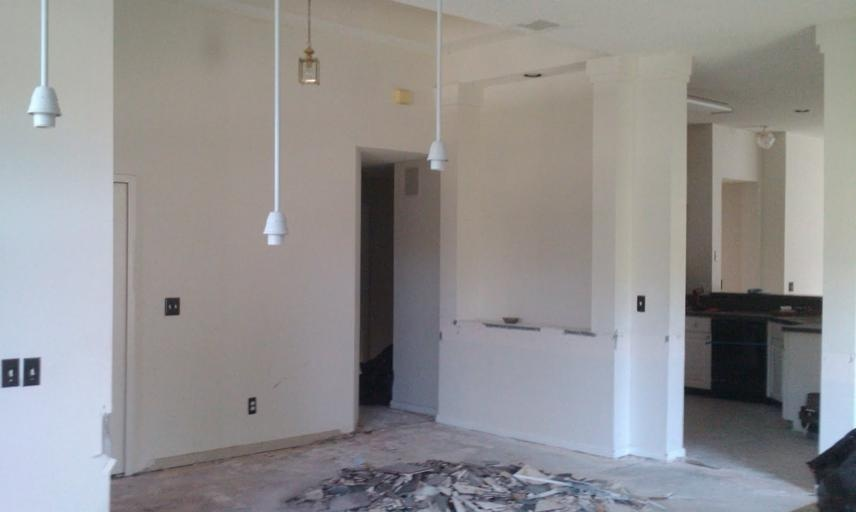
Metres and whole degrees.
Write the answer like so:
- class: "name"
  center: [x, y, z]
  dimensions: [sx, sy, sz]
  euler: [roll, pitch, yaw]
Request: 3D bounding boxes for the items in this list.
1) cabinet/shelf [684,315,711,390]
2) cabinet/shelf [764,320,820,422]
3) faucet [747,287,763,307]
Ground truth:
- class: "cabinet/shelf"
  center: [3.926, 1.397, 9.774]
  dimensions: [0.374, 1.053, 0.178]
  euler: [3, 8, 20]
- class: "cabinet/shelf"
  center: [4.709, 1.471, 8.695]
  dimensions: [0.561, 1.203, 1.264]
  euler: [4, 7, 25]
- class: "faucet"
  center: [5.014, 0.611, 10.266]
  dimensions: [0.271, 0.243, 0.240]
  euler: [3, -7, 7]
